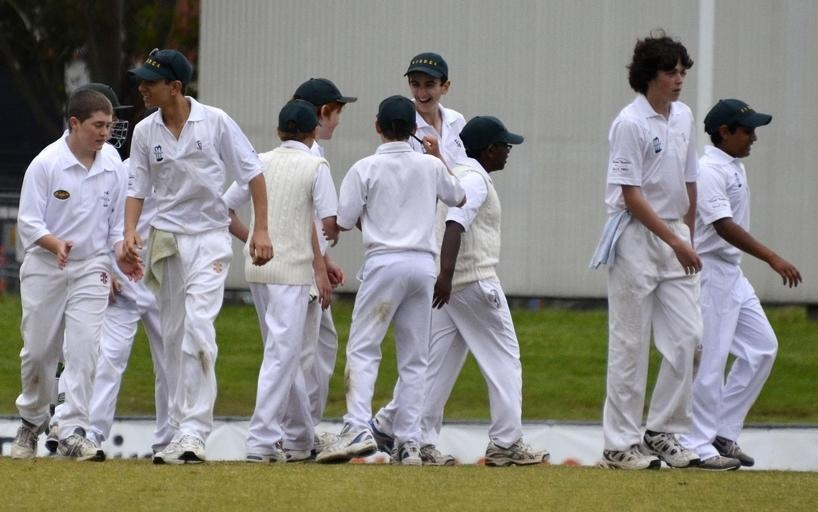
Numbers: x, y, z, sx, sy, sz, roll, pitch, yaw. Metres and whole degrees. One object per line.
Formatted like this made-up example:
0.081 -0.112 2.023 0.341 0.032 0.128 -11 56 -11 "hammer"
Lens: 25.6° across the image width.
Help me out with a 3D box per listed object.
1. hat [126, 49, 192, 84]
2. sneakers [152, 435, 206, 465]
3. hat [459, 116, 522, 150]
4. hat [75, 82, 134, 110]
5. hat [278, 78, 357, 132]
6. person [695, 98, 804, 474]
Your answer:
-2.809 -2.142 20.573 0.587 0.323 0.388 9 6 -14 "hat"
-2.561 2.192 20.247 0.575 0.245 0.271 1 -6 11 "sneakers"
0.943 -1.428 21.044 0.577 0.310 0.380 -13 11 -3 "hat"
-3.619 -1.811 21.445 0.632 0.318 0.415 1 11 -18 "hat"
-1.083 -1.848 21.654 0.738 0.469 0.519 -15 16 -18 "hat"
3.775 0.364 21.234 1.154 4.370 0.920 -3 4 -31 "person"
